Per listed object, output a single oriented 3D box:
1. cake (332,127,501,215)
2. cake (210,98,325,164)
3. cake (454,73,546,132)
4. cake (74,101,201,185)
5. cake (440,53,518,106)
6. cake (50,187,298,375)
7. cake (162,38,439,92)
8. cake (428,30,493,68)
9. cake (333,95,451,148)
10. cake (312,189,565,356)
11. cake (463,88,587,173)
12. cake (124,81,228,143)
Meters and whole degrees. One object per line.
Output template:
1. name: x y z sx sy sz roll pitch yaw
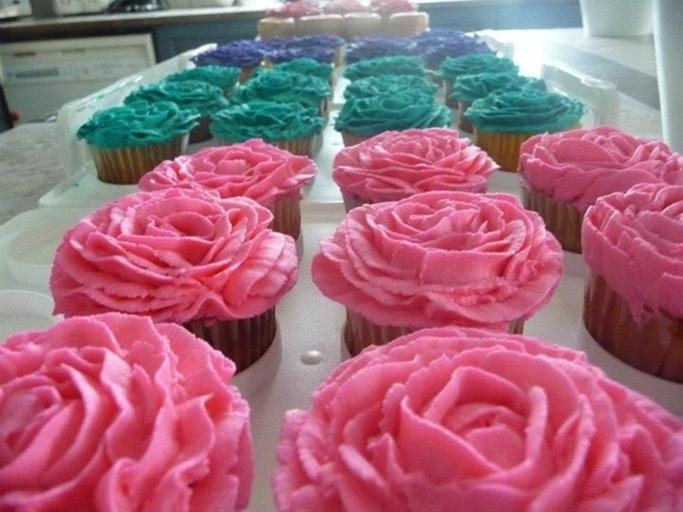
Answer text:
1. cake: 0.151 -0.204 1.180 0.235 0.142 0.235 -18 30 -11
2. cake: -0.253 -0.395 1.683 0.360 0.216 0.362 -11 20 -35
3. cake: 0.510 -0.569 1.880 0.224 0.143 0.222 -22 28 -33
4. cake: -0.608 -0.365 1.662 0.288 0.181 0.272 -21 34 -37
5. cake: 0.548 -0.773 2.225 0.259 0.202 0.265 -14 24 -21
6. cake: -0.263 0.014 1.002 0.403 0.276 0.404 -8 29 -40
7. cake: -0.174 -1.017 2.806 1.105 0.154 0.683 -1 28 3
8. cake: 0.557 -1.030 2.774 0.361 0.223 0.392 -2 16 6
9. cake: 0.133 -0.418 1.603 0.207 0.115 0.198 -1 24 9
10. cake: 0.142 0.001 0.837 0.273 0.210 0.282 7 33 38
11. cake: 0.528 -0.396 1.577 0.270 0.188 0.277 4 29 22
12. cake: -0.546 -0.547 1.892 0.267 0.155 0.281 -1 21 -5
